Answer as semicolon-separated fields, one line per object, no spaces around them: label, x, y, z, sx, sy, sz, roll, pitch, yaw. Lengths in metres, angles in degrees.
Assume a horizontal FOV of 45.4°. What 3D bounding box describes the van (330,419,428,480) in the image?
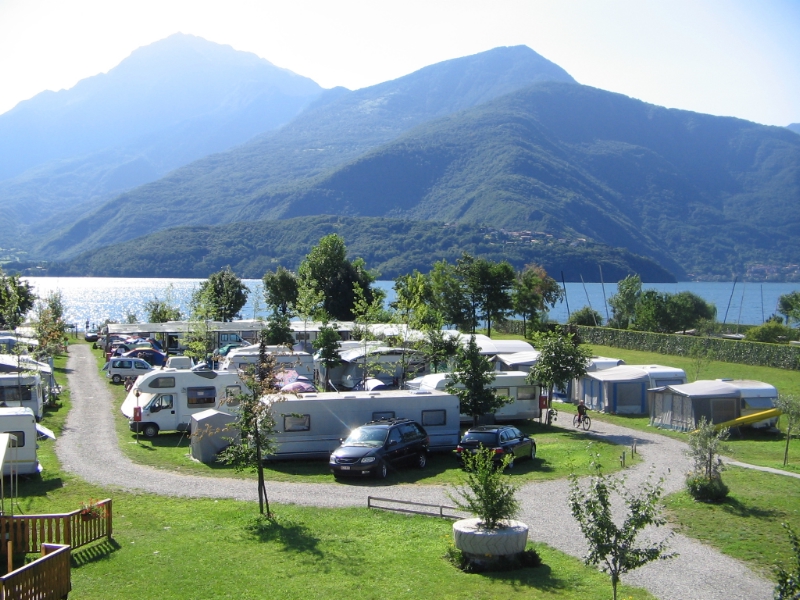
van;-0.845;6.212;40.309;1.951;1.730;3.722;-5;-8;34

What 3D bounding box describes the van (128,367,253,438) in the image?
van;-10.846;4.940;46.477;4.912;3.126;2.613;0;-1;-18

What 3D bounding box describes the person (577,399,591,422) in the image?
person;9.689;5.868;50.657;0.562;1.067;2.064;-1;-2;11

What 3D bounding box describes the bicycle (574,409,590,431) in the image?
bicycle;9.597;6.408;50.473;0.534;0.747;1.107;1;-3;-26
